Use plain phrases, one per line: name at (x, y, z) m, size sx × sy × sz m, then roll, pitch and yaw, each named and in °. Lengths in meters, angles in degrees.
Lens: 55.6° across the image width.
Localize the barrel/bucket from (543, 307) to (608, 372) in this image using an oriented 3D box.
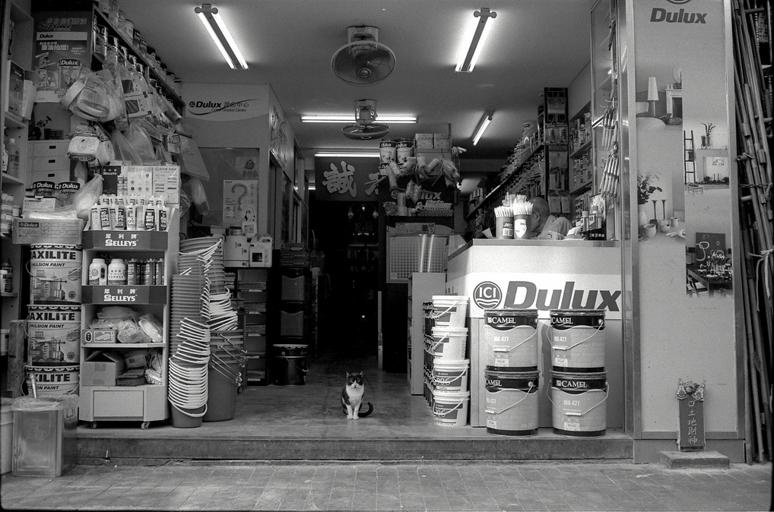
barrel/bucket at (1.904, 0.857, 7.518) m, size 0.587 × 0.571 × 0.574 m, roll 0°, pitch -6°, yaw 0°

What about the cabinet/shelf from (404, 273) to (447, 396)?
cabinet/shelf at (0.480, 0.952, 8.865) m, size 0.523 × 1.466 × 1.383 m, roll 0°, pitch -8°, yaw 4°

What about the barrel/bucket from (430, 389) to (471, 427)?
barrel/bucket at (0.667, 1.571, 7.599) m, size 0.355 × 0.281 × 0.357 m, roll 1°, pitch -2°, yaw 0°

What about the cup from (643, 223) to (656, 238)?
cup at (2.645, -0.255, 7.339) m, size 0.108 × 0.111 × 0.139 m, roll -2°, pitch -8°, yaw 14°

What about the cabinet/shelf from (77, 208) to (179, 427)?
cabinet/shelf at (-2.748, 0.622, 7.706) m, size 0.937 × 2.113 × 0.904 m, roll 0°, pitch 14°, yaw -3°

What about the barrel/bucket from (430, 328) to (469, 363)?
barrel/bucket at (0.677, 0.927, 7.723) m, size 0.326 × 0.243 × 0.330 m, roll 1°, pitch -4°, yaw 0°

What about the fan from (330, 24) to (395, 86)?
fan at (-0.279, -2.636, 9.489) m, size 0.910 × 0.827 × 0.901 m, roll -2°, pitch -27°, yaw 2°

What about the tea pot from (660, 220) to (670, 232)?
tea pot at (2.802, -0.296, 7.381) m, size 0.113 × 0.110 × 0.076 m, roll 0°, pitch 0°, yaw 7°

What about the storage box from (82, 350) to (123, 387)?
storage box at (-3.005, 1.177, 7.696) m, size 0.323 × 0.334 × 0.444 m, roll 1°, pitch -1°, yaw -6°

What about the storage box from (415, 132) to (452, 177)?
storage box at (0.823, -1.704, 12.571) m, size 0.677 × 0.690 × 0.577 m, roll 1°, pitch 15°, yaw 3°

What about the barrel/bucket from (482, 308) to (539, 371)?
barrel/bucket at (1.228, 0.869, 7.531) m, size 0.601 × 0.585 × 0.574 m, roll 0°, pitch -8°, yaw 0°

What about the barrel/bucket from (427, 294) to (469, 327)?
barrel/bucket at (0.662, 0.579, 7.880) m, size 0.345 × 0.256 × 0.335 m, roll 1°, pitch -1°, yaw 0°

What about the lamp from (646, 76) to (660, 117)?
lamp at (2.681, -1.597, 7.350) m, size 0.117 × 0.379 × 0.110 m, roll 2°, pitch 14°, yaw 5°

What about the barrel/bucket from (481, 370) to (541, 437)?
barrel/bucket at (1.246, 1.452, 7.293) m, size 0.613 × 0.591 × 0.583 m, roll 1°, pitch -8°, yaw 0°

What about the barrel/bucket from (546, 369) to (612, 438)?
barrel/bucket at (1.908, 1.455, 7.370) m, size 0.613 × 0.596 × 0.592 m, roll 0°, pitch -6°, yaw 0°

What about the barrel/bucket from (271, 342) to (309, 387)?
barrel/bucket at (-1.387, 1.522, 10.331) m, size 0.544 × 0.513 × 0.535 m, roll -1°, pitch -7°, yaw 0°

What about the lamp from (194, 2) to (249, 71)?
lamp at (-2.335, -3.069, 10.342) m, size 0.563 × 0.808 × 1.637 m, roll -1°, pitch 15°, yaw -7°

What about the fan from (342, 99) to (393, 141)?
fan at (-0.376, -2.218, 12.013) m, size 0.682 × 0.646 × 1.279 m, roll 0°, pitch 15°, yaw -4°

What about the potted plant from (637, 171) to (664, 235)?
potted plant at (2.633, -0.496, 7.336) m, size 0.243 × 0.603 × 0.178 m, roll 3°, pitch 15°, yaw 11°

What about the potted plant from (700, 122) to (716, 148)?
potted plant at (3.230, -1.202, 7.318) m, size 0.121 × 0.240 × 0.090 m, roll 5°, pitch 15°, yaw 17°

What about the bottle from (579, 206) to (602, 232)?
bottle at (2.245, -0.392, 8.009) m, size 0.187 × 0.262 × 0.349 m, roll -2°, pitch 15°, yaw -8°

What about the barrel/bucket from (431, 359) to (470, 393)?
barrel/bucket at (0.671, 1.237, 7.656) m, size 0.340 × 0.266 × 0.335 m, roll 0°, pitch -4°, yaw 0°
